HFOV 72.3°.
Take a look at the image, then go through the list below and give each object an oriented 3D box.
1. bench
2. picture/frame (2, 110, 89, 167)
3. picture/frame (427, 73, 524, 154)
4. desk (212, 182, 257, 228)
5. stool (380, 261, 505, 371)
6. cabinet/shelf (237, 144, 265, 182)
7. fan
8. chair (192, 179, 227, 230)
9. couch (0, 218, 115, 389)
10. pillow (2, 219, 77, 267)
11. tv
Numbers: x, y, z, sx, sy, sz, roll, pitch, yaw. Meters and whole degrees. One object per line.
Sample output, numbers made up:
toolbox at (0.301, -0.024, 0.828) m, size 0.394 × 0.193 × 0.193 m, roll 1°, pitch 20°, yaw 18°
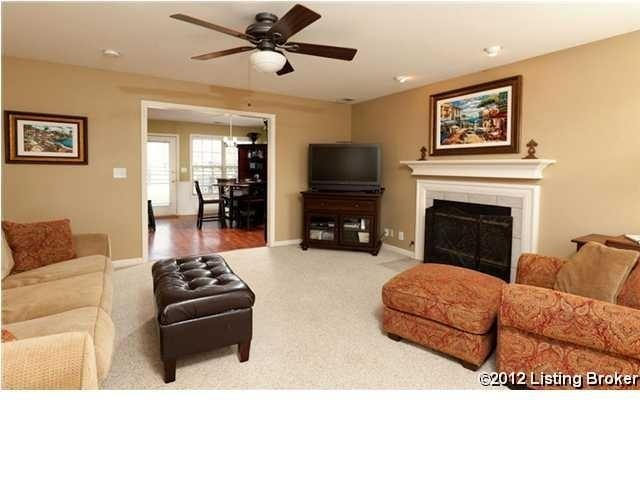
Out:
bench at (-0.798, 0.580, 3.072) m, size 0.693 × 0.514 × 1.129 m, roll -1°, pitch 9°, yaw -26°
picture/frame at (-2.985, -1.100, 4.689) m, size 0.843 × 0.626 × 0.058 m, roll -1°, pitch 4°, yaw -33°
picture/frame at (1.750, -1.397, 4.815) m, size 0.054 × 0.713 × 1.076 m, roll -2°, pitch 3°, yaw -37°
desk at (-1.598, -0.676, 8.564) m, size 1.178 × 0.883 × 0.596 m, roll 12°, pitch 19°, yaw 37°
stool at (0.945, 0.464, 3.129) m, size 0.725 × 0.411 × 0.703 m, roll 8°, pitch 12°, yaw 36°
cabinet/shelf at (-1.500, -1.668, 9.716) m, size 0.700 × 0.810 × 0.265 m, roll 0°, pitch 0°, yaw -15°
fan at (-0.428, -1.539, 3.376) m, size 1.229 × 0.455 × 1.300 m, roll -7°, pitch 16°, yaw -28°
chair at (-2.152, -0.742, 8.680) m, size 0.813 × 1.014 × 0.838 m, roll 3°, pitch -2°, yaw -27°
couch at (-1.656, 0.376, 2.729) m, size 0.482 × 0.432 × 1.083 m, roll 5°, pitch 24°, yaw -36°
pillow at (-2.317, 0.033, 3.606) m, size 0.141 × 0.413 × 0.462 m, roll -20°, pitch 2°, yaw 31°
tv at (0.365, -1.017, 6.209) m, size 1.342 × 0.768 × 0.680 m, roll 2°, pitch 5°, yaw 21°
